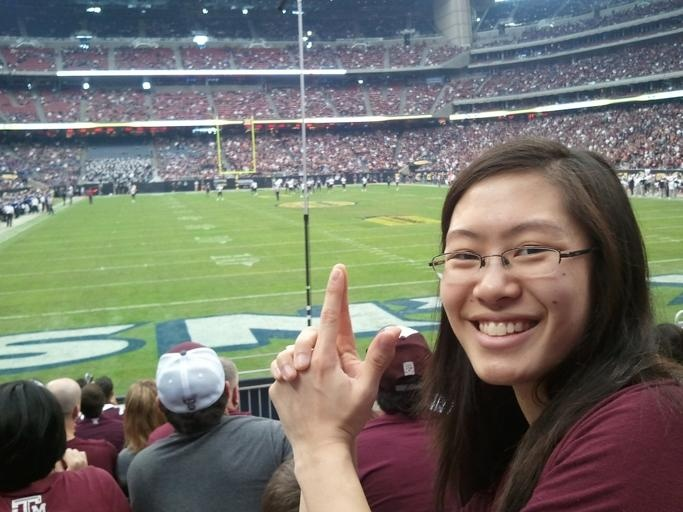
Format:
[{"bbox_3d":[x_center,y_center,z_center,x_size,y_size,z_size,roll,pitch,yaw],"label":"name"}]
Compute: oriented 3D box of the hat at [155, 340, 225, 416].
[{"bbox_3d":[-0.657,0.441,2.419,0.318,0.132,0.401,-16,35,-14],"label":"hat"}]
